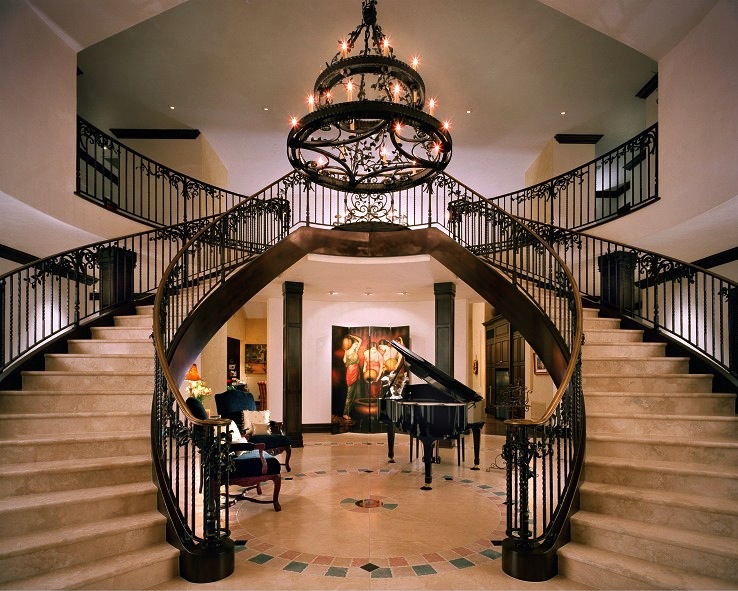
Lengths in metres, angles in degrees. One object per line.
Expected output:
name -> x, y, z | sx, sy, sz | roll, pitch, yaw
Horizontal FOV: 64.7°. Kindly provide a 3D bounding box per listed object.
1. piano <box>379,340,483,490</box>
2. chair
piano -> 1.118, 1.805, 9.823 | 1.758, 2.860, 1.975 | 1, -4, -9
chair -> -1.586, 2.184, 7.409 | 1.337, 2.192, 1.388 | 1, -4, -17
